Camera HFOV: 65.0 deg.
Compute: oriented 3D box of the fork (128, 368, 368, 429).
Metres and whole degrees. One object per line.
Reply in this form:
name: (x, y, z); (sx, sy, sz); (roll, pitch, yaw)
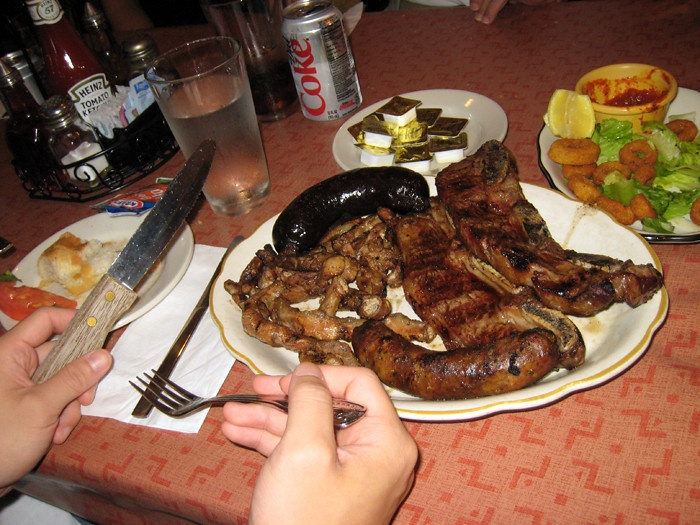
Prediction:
fork: (-0.389, 0.537, 2.149); (0.713, 0.107, 0.120); (12, 19, 6)
